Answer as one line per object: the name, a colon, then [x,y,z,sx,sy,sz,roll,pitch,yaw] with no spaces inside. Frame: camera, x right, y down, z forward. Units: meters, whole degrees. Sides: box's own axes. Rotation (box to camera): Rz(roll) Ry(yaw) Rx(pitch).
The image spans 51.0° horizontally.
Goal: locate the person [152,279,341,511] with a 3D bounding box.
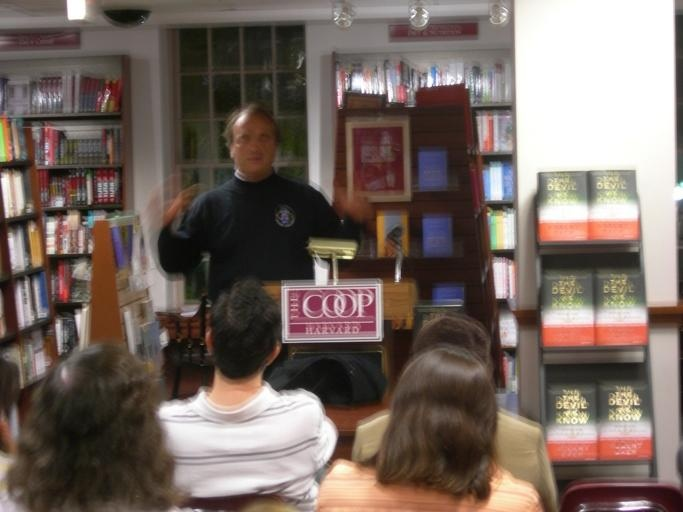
person: [-0.350,0.469,2.845,0.747,1.287,0.692,0,7,-3]
